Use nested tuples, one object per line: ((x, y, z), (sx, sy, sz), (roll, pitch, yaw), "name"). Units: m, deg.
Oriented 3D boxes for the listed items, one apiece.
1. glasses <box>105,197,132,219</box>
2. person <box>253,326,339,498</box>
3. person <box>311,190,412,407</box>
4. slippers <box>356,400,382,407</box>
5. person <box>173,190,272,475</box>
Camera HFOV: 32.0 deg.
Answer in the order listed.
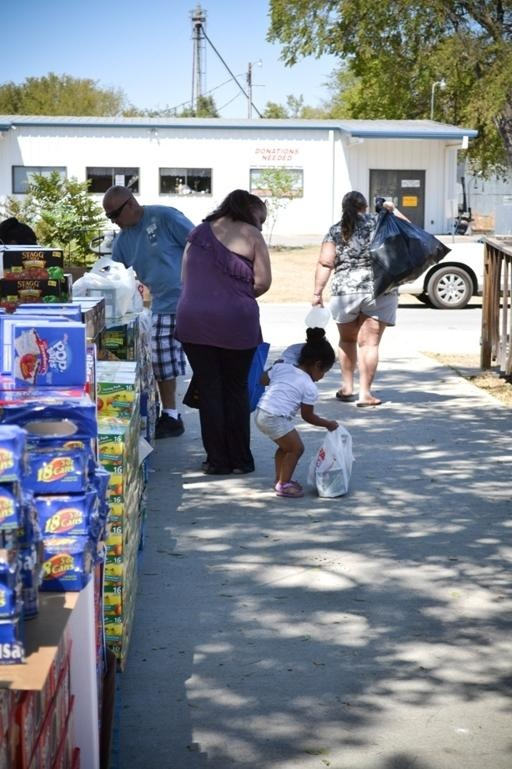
((-0.961, -1.238, 6.344), (0.042, 0.139, 0.134), (44, -17, -27), "glasses")
((0.249, 0.164, 5.515), (0.490, 0.984, 0.549), (-2, 7, 3), "person")
((0.880, -0.743, 7.945), (0.711, 1.911, 0.641), (-1, 7, 7), "person")
((1.014, 0.169, 8.065), (0.222, 0.083, 0.077), (-4, 16, -3), "slippers")
((-0.199, -0.292, 5.688), (0.599, 1.841, 0.379), (-3, 7, -6), "person")
